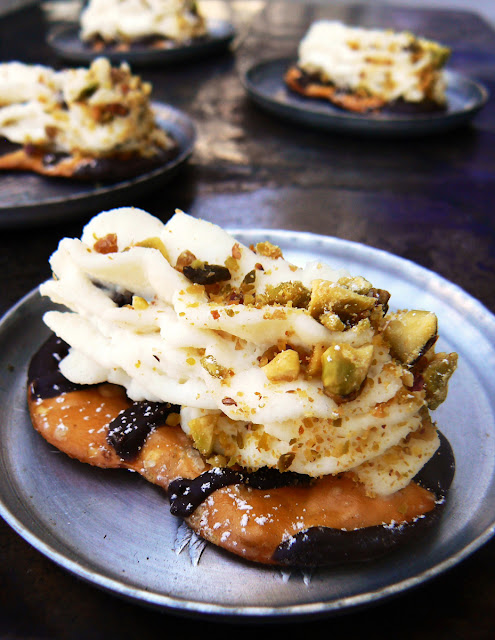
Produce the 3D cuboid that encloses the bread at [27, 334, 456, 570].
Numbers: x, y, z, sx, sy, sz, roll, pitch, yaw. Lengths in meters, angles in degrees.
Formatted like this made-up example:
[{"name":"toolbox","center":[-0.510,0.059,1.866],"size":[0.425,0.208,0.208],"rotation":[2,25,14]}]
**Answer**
[{"name":"bread","center":[-0.063,0.144,0.820],"size":[0.401,0.045,0.227],"rotation":[14,28,25]}]
